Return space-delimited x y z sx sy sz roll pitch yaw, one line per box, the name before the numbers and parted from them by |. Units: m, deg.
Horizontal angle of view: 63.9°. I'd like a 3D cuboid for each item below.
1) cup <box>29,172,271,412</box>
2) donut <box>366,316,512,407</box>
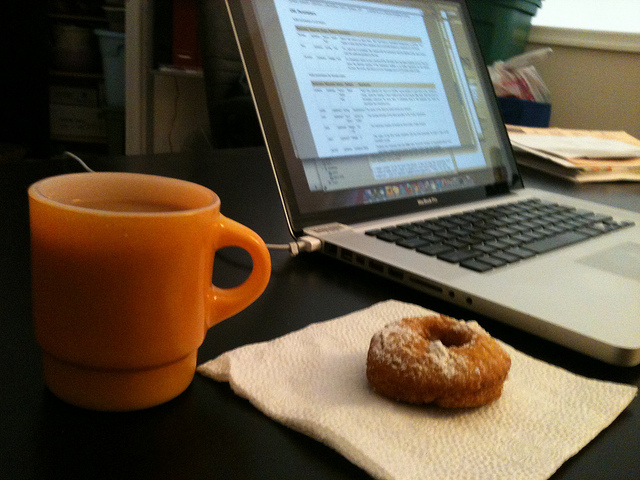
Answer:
cup | -0.105 0.028 0.358 0.152 0.142 0.127 2 5 -9
donut | 0.079 0.079 0.345 0.094 0.032 0.069 0 23 5
